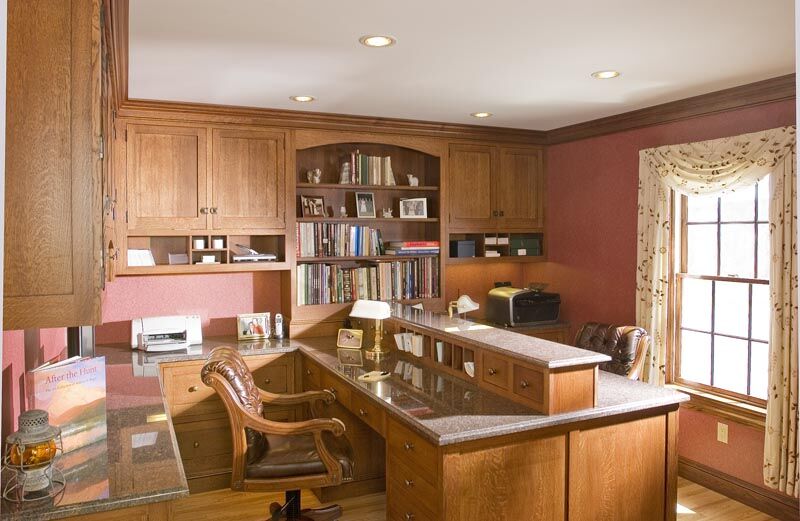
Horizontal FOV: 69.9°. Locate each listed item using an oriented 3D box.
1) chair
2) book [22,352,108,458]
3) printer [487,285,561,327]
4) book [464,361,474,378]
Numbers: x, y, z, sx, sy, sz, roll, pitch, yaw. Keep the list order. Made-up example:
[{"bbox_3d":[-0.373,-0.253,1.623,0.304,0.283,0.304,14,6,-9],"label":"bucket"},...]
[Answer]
[{"bbox_3d":[1.709,0.731,4.777,0.567,0.597,0.557,11,-8,-43],"label":"chair"},{"bbox_3d":[-1.786,0.783,3.045,0.106,0.629,0.552,8,6,31],"label":"book"},{"bbox_3d":[1.324,0.480,6.162,0.723,0.301,0.744,1,4,42],"label":"printer"},{"bbox_3d":[0.483,0.755,3.985,0.101,0.084,0.035,2,0,27],"label":"book"}]
